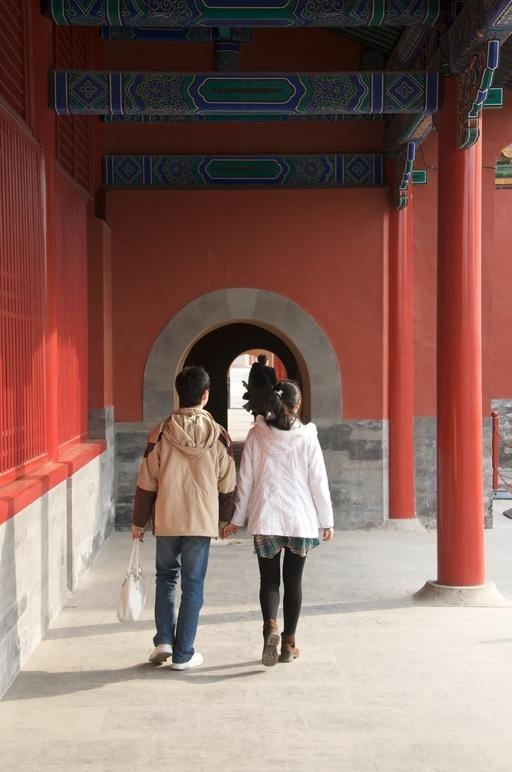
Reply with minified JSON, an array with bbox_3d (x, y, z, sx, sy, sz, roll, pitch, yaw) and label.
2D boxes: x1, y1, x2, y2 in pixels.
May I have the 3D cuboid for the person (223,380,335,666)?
[{"bbox_3d":[0.095,0.613,3.522,0.393,1.279,0.435,0,0,40],"label":"person"}]

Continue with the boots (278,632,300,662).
[{"bbox_3d":[0.154,1.202,3.556,0.065,0.125,0.126,1,2,9],"label":"boots"}]

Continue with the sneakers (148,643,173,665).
[{"bbox_3d":[-0.421,1.195,3.454,0.058,0.068,0.163,4,-24,-8],"label":"sneakers"}]

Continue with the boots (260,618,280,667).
[{"bbox_3d":[0.057,1.096,3.331,0.075,0.200,0.083,0,12,-3],"label":"boots"}]

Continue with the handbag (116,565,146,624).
[{"bbox_3d":[-0.540,0.906,3.339,0.108,0.253,0.183,0,-1,-8],"label":"handbag"}]

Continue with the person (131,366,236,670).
[{"bbox_3d":[-0.320,0.584,3.458,0.463,1.345,0.286,0,0,-6],"label":"person"}]
